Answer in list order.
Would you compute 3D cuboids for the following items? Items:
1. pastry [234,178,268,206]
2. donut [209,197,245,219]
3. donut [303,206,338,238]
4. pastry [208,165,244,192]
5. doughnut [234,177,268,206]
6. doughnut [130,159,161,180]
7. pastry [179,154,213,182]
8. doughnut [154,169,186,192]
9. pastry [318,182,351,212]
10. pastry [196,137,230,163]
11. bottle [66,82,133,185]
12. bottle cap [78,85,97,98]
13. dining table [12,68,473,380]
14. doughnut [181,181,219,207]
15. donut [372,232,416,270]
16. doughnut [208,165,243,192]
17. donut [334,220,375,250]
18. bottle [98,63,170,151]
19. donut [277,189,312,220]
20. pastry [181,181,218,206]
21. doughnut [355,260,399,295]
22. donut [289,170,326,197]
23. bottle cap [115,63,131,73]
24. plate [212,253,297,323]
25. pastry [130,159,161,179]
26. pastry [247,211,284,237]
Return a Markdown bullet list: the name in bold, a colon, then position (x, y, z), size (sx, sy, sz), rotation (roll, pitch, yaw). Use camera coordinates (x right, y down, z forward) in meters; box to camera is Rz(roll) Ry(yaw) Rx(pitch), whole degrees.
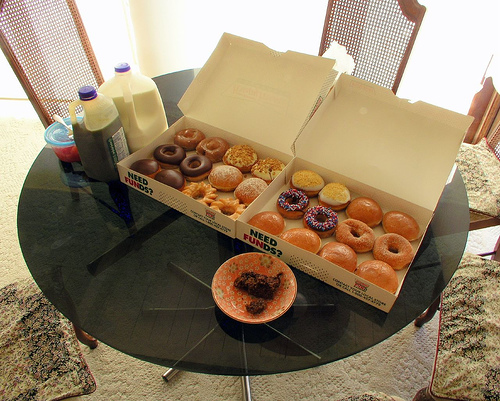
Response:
- **pastry**: position (0.000, -0.044, 1.478), size (0.114, 0.038, 0.092), rotation (-41, 55, -9)
- **donut**: position (-0.085, 0.031, 1.425), size (0.083, 0.032, 0.084), rotation (-21, 47, -32)
- **donut**: position (0.266, 0.085, 1.375), size (0.110, 0.040, 0.115), rotation (-24, 59, -11)
- **pastry**: position (-0.104, -0.096, 1.522), size (0.106, 0.060, 0.108), rotation (-31, 59, -22)
- **doughnut**: position (0.000, -0.048, 1.479), size (0.118, 0.039, 0.095), rotation (-44, 59, -11)
- **doughnut**: position (-0.422, -0.134, 1.502), size (0.082, 0.046, 0.086), rotation (22, 48, 15)
- **pastry**: position (-0.243, -0.141, 1.577), size (0.107, 0.046, 0.110), rotation (-7, 31, 13)
- **doughnut**: position (-0.319, -0.081, 1.505), size (0.117, 0.062, 0.104), rotation (11, 51, 4)
- **pastry**: position (0.329, -0.022, 1.464), size (0.105, 0.064, 0.108), rotation (-27, 58, -16)
- **pastry**: position (-0.168, -0.242, 1.711), size (0.149, 0.156, 0.061), rotation (-10, 71, 33)
- **bottle**: position (-0.597, -0.263, 1.465), size (0.188, 0.355, 0.200), rotation (0, 35, 0)
- **bottle cap**: position (-0.576, -0.381, 1.325), size (0.044, 0.025, 0.046), rotation (-1, 7, 14)
- **dining table**: position (-0.007, 0.001, 0.003), size (0.915, 0.976, 0.255), rotation (0, 90, 12)
- **doughnut**: position (-0.203, -0.030, 1.492), size (0.148, 0.069, 0.129), rotation (15, 51, 7)
- **donut**: position (0.501, 0.179, 1.318), size (0.134, 0.050, 0.127), rotation (-34, 64, -27)
- **doughnut**: position (-0.111, -0.101, 1.576), size (0.157, 0.094, 0.169), rotation (5, 32, 0)
- **donut**: position (0.373, 0.129, 1.342), size (0.104, 0.036, 0.100), rotation (-35, 56, -27)
- **bottle**: position (-0.503, -0.420, 1.627), size (0.263, 0.377, 0.225), rotation (-30, 58, -24)
- **donut**: position (0.168, 0.006, 1.488), size (0.038, 0.104, 0.102), rotation (-51, 39, -8)
- **pastry**: position (-0.188, -0.030, 1.486), size (0.098, 0.040, 0.101), rotation (33, 51, 7)
- **doughnut**: position (0.418, 0.244, 1.271), size (0.120, 0.089, 0.139), rotation (18, 37, 18)
- **donut**: position (0.237, -0.075, 1.510), size (0.109, 0.062, 0.109), rotation (-32, 55, -29)
- **bottle cap**: position (-0.510, -0.533, 1.494), size (0.052, 0.019, 0.050), rotation (5, 51, -1)
- **plate**: position (0.019, 0.280, 1.183), size (0.268, 0.068, 0.285), rotation (-6, 33, -9)
- **pastry**: position (-0.427, -0.130, 1.487), size (0.081, 0.045, 0.086), rotation (18, 46, 13)
- **pastry**: position (0.056, 0.083, 1.367), size (0.135, 0.045, 0.095), rotation (5, 51, -1)
